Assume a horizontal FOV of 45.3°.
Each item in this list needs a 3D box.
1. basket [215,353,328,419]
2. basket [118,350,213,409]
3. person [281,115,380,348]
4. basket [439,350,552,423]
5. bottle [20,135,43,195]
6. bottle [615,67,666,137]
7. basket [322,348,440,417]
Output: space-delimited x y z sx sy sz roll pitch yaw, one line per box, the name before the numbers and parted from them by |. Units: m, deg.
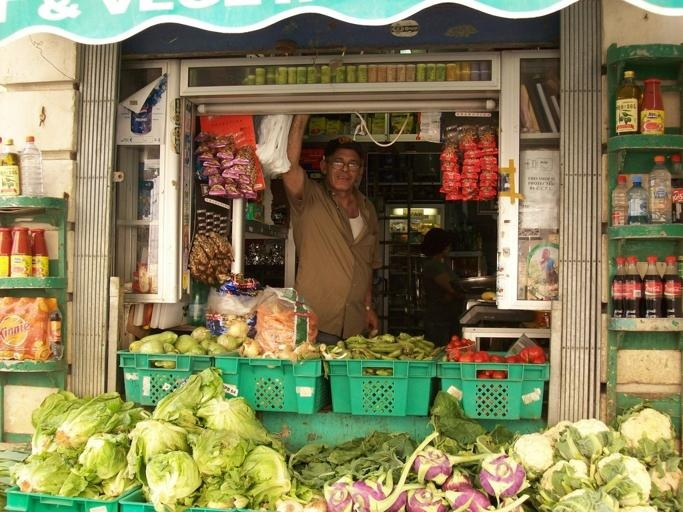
basket | -0.386 0.729 4.760 0.645 0.335 0.473 -1 5 11
basket | -1.034 0.728 4.771 0.466 0.209 0.331 0 -5 4
person | -0.054 -0.144 6.026 0.626 1.718 0.547 0 6 -23
basket | 0.860 0.779 4.629 0.617 0.348 0.145 -1 -3 -1
bottle | -1.896 -0.534 4.994 0.136 0.384 0.276 0 -3 -20
bottle | 1.689 -0.857 4.627 0.269 0.382 0.176 -1 -3 10
basket | 0.226 0.763 4.661 0.636 0.342 0.147 -1 -3 5
